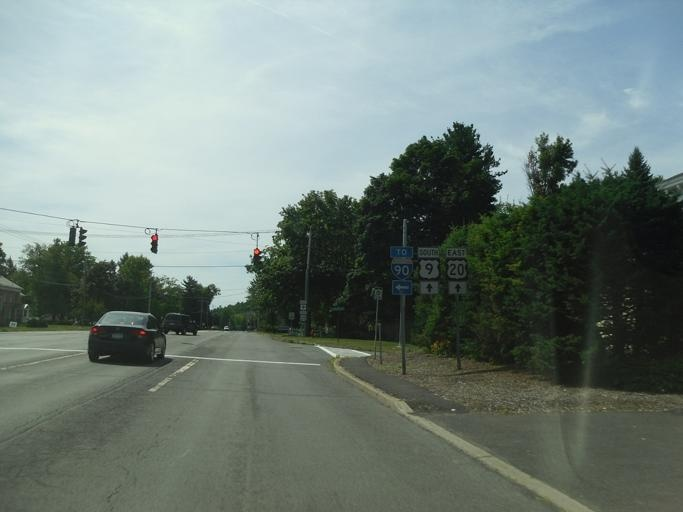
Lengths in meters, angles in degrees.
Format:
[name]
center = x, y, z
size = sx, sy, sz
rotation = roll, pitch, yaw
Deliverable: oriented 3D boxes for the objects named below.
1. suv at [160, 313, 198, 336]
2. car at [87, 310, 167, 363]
[suv]
center = -12.069, 5.075, 60.511
size = 1.359, 1.324, 3.215
rotation = 0, -3, 9
[car]
center = -6.663, 2.653, 25.806
size = 1.170, 1.022, 3.001
rotation = 1, -16, -4
